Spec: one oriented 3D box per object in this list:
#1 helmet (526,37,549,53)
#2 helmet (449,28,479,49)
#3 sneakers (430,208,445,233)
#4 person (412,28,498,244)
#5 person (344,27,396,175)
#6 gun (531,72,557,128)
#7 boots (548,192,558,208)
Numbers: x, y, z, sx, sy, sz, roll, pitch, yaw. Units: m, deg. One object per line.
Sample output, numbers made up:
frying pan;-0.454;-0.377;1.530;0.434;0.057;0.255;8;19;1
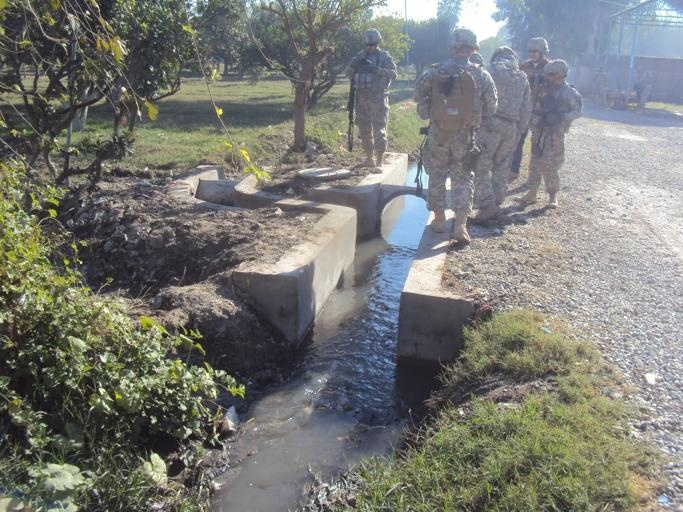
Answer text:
helmet;3.424;-3.679;9.479;0.333;0.249;0.465;8;18;16
helmet;1.518;-2.707;6.754;0.338;0.235;0.244;5;17;9
sneakers;1.290;-0.471;7.210;0.136;0.300;0.300;-2;37;7
person;1.400;-1.515;6.861;0.953;2.581;0.556;6;16;15
person;0.559;-2.943;10.215;0.855;2.515;1.119;3;16;3
gun;3.297;-2.507;8.809;0.434;0.921;0.627;1;34;15
boots;3.461;-0.918;8.901;0.109;0.294;0.313;-6;28;25
